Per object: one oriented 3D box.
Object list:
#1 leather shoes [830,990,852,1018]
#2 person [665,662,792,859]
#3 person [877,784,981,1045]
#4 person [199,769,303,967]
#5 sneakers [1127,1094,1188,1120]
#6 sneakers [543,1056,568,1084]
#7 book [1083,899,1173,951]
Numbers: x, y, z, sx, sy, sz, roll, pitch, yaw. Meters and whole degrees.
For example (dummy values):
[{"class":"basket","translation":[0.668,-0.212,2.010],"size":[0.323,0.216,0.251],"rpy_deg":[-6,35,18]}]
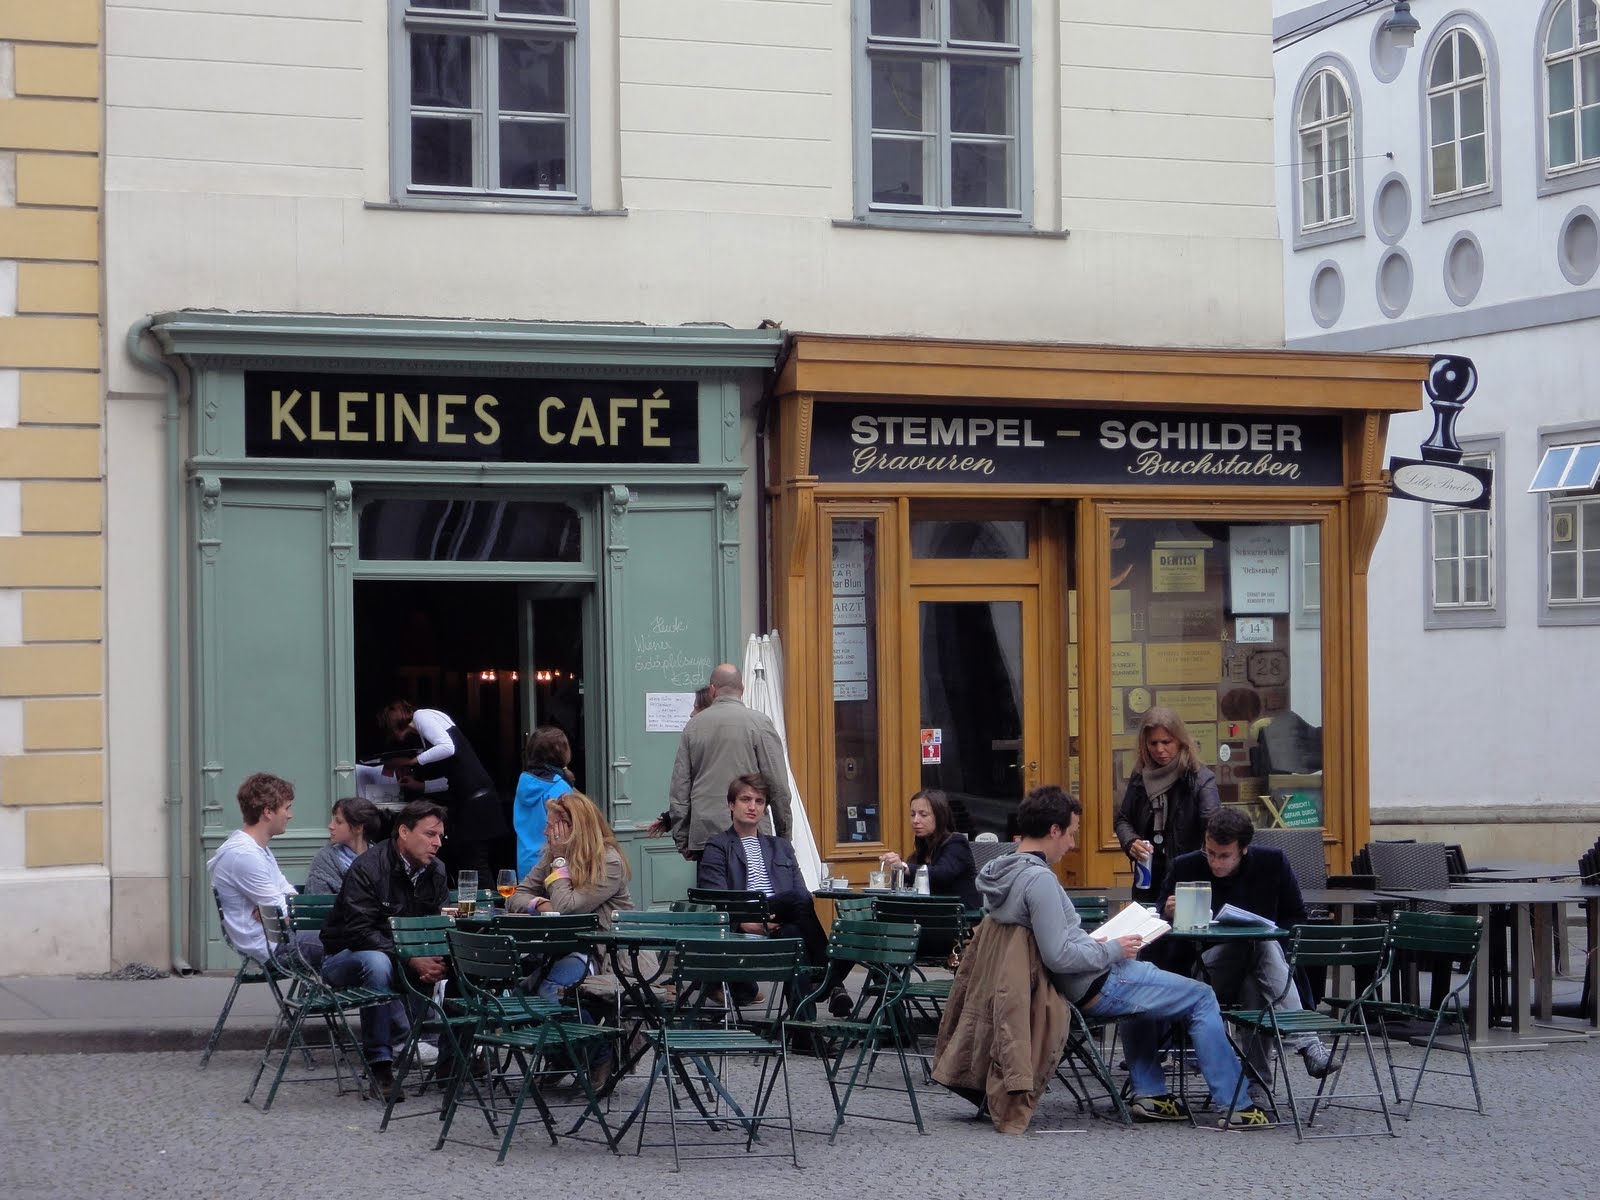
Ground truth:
[{"class":"leather shoes","translation":[0.290,2.803,20.293],"size":[0.158,0.255,0.138],"rpy_deg":[1,-3,7]},{"class":"person","translation":[-0.524,1.180,22.064],"size":[0.862,1.464,0.752],"rpy_deg":[-2,-11,7]},{"class":"person","translation":[1.093,1.990,20.608],"size":[1.027,1.928,0.855],"rpy_deg":[3,-13,-3]},{"class":"person","translation":[-3.711,1.845,20.043],"size":[0.709,1.334,0.691],"rpy_deg":[-1,1,-35]},{"class":"sneakers","translation":[2.280,3.182,18.416],"size":[0.343,0.173,0.150],"rpy_deg":[1,-2,-17]},{"class":"sneakers","translation":[-1.592,3.031,18.870],"size":[0.177,0.175,0.185],"rpy_deg":[0,-2,9]},{"class":"book","translation":[2.106,2.046,18.338],"size":[0.317,0.124,0.329],"rpy_deg":[-23,21,-36]}]
